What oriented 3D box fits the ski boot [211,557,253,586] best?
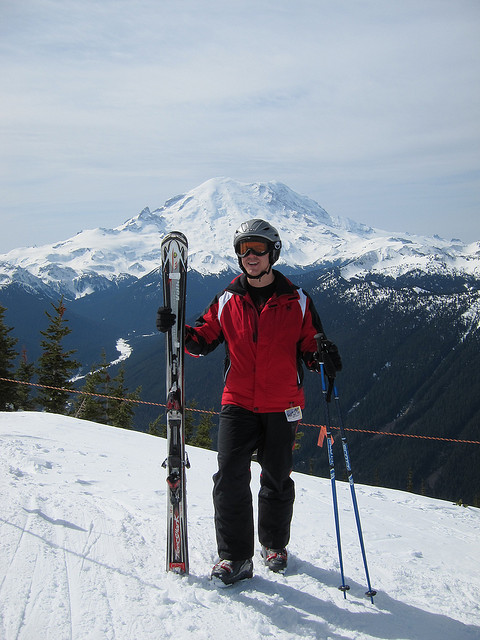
[{"bbox_3d":[-0.047,1.784,4.403,0.305,0.133,0.175,11,-5,-4],"label":"ski boot"}]

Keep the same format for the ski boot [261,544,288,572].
[{"bbox_3d":[0.252,1.812,4.747,0.234,0.128,0.208,9,-5,18],"label":"ski boot"}]

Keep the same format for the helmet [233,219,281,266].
[{"bbox_3d":[0.153,-0.630,4.939,0.318,0.393,0.359,2,3,4],"label":"helmet"}]
